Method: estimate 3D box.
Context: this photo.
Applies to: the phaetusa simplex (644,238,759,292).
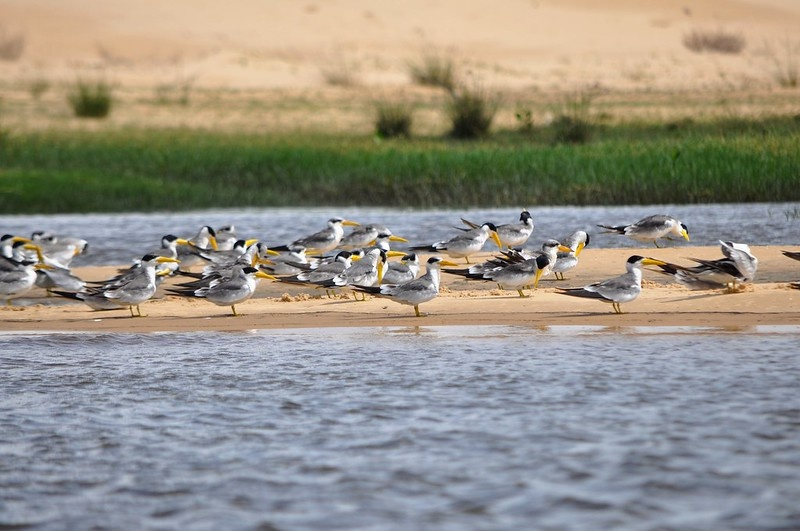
[{"bbox_3d":[6.281,0.060,21.787,1.643,0.933,0.725,0,12,7],"label":"phaetusa simplex"}]
